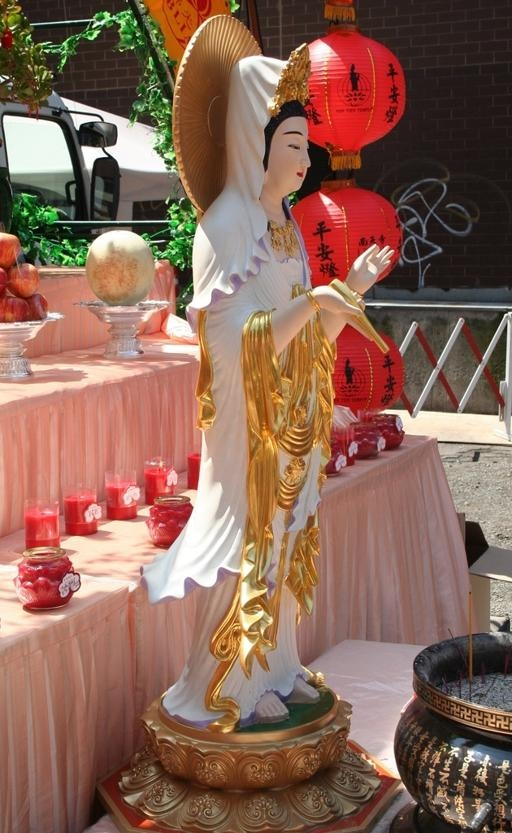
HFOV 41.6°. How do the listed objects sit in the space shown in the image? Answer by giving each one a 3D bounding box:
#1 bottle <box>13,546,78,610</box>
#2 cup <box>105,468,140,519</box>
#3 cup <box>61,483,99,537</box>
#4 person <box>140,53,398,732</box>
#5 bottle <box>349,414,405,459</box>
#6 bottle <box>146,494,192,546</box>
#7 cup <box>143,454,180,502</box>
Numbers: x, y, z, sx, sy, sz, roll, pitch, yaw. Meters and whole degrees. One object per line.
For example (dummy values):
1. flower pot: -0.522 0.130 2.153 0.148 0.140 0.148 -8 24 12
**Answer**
1. bottle: -0.444 0.332 1.440 0.114 0.100 0.116 0 3 29
2. cup: -0.433 0.256 2.243 0.135 0.182 0.134 -1 7 0
3. cup: -0.528 0.286 2.094 0.129 0.184 0.127 1 6 0
4. person: 0.017 -0.074 1.299 0.409 1.313 0.479 7 14 32
5. bottle: 0.523 0.077 2.940 0.206 0.117 0.206 -4 7 0
6. bottle: -0.250 0.293 1.965 0.133 0.143 0.130 3 6 5
7. cup: -0.332 0.215 2.390 0.141 0.191 0.148 5 5 0
